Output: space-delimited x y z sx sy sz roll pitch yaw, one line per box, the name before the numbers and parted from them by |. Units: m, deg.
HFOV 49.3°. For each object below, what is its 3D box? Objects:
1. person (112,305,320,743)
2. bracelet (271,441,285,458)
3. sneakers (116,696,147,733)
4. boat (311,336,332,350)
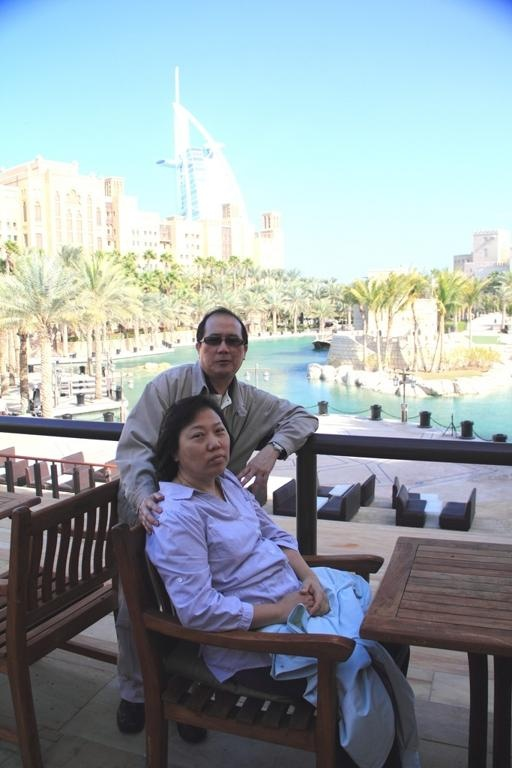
person | -0.151 0.484 1.991 0.658 1.449 0.491 3 9 -20
bracelet | 0.073 0.224 1.958 0.026 0.037 0.040 31 -6 27
sneakers | -0.400 1.002 1.705 0.116 0.105 0.041 -1 4 26
boat | 8.510 -5.427 72.739 3.913 1.932 6.016 -1 5 6
